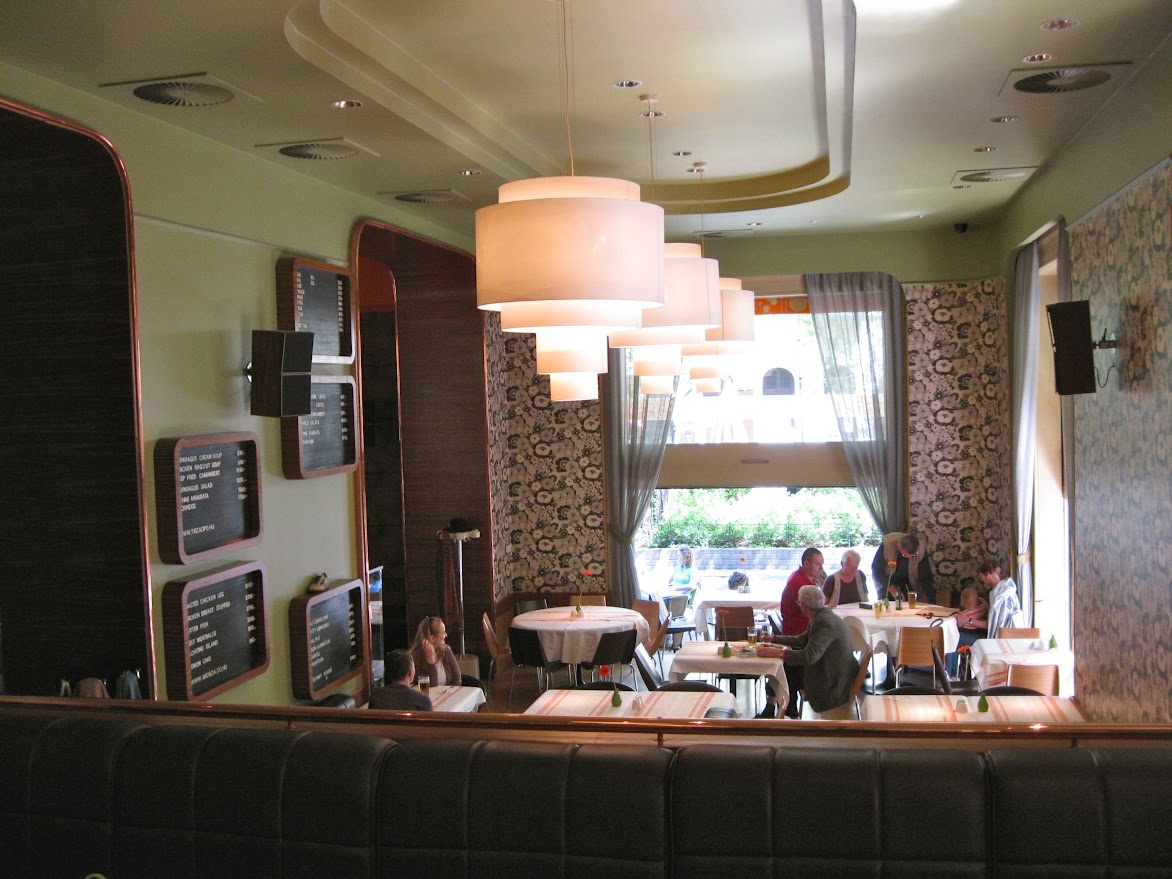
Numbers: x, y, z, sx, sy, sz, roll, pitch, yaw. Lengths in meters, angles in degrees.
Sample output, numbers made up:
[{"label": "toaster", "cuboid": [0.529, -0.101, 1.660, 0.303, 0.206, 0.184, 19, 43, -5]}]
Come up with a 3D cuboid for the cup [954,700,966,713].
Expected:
[{"label": "cup", "cuboid": [2.138, 1.536, 5.466, 0.051, 0.048, 0.089, -3, -11, 18]}]

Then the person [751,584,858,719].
[{"label": "person", "cuboid": [1.727, 1.754, 7.333, 0.823, 1.214, 0.541, 5, 2, 27]}]

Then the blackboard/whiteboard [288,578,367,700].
[{"label": "blackboard/whiteboard", "cuboid": [-1.850, 1.447, 6.887, 0.135, 0.741, 0.938, -3, 1, 12]}]

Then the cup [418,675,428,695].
[{"label": "cup", "cuboid": [-1.081, 1.670, 6.413, 0.075, 0.124, 0.125, 3, -8, -33]}]

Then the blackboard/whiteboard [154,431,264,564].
[{"label": "blackboard/whiteboard", "cuboid": [-2.280, 0.341, 5.662, 0.108, 0.575, 0.850, -1, -1, 13]}]

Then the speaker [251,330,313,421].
[{"label": "speaker", "cuboid": [-1.975, -0.421, 6.107, 0.395, 0.533, 0.302, 1, -4, -20]}]

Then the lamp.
[{"label": "lamp", "cuboid": [0.163, -1.297, 4.404, 0.855, 2.247, 2.547, -1, -3, 6]}]

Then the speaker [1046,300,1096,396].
[{"label": "speaker", "cuboid": [3.019, -0.566, 5.905, 0.251, 0.568, 0.396, -2, -4, 27]}]
